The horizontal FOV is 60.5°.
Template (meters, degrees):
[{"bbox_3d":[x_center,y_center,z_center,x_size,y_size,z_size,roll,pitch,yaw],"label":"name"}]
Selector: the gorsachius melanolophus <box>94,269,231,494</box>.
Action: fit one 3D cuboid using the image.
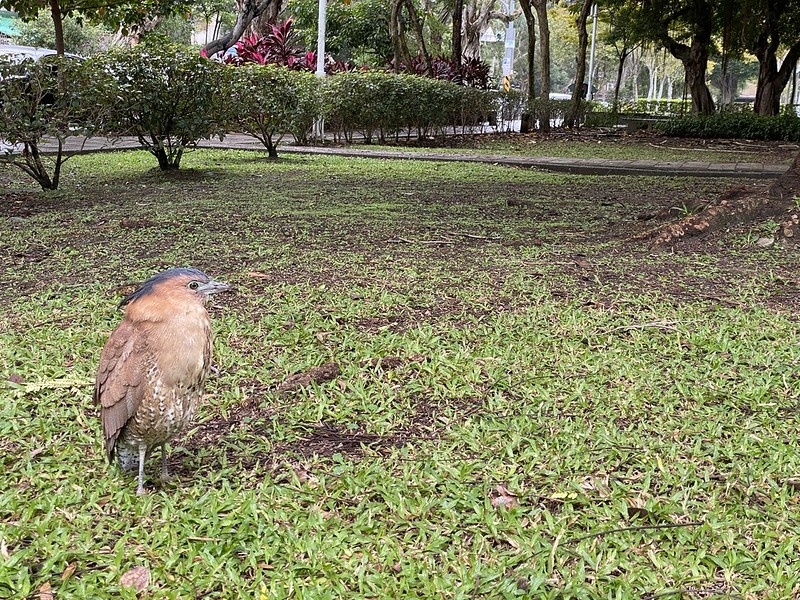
[{"bbox_3d":[-0.991,0.345,2.847,0.595,0.951,0.288,-3,19,-10],"label":"gorsachius melanolophus"}]
